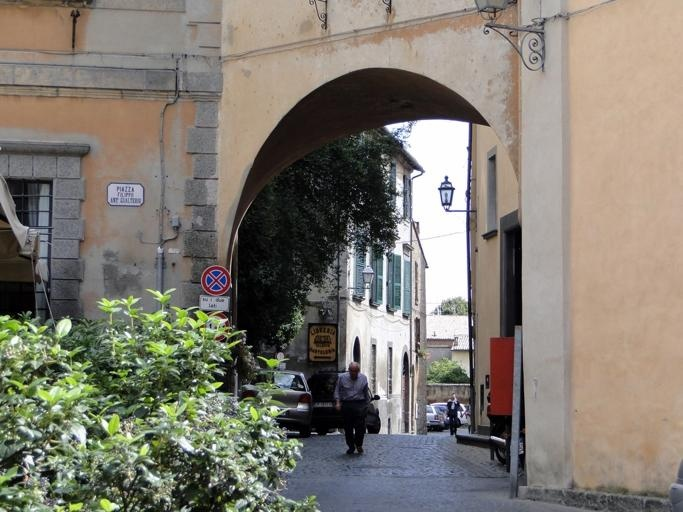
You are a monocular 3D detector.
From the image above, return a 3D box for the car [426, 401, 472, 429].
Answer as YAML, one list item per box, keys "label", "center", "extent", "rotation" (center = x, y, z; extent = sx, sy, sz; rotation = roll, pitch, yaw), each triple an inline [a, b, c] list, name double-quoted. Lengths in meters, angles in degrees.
- label: "car"
  center: [4.786, 6.850, 57.672]
  extent: [1.111, 1.046, 2.610]
  rotation: [-1, -2, 15]

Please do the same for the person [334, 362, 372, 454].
- label: "person"
  center: [0.170, 2.617, 22.912]
  extent: [0.578, 1.617, 1.345]
  rotation: [1, -6, 1]

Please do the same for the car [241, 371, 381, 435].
- label: "car"
  center: [-0.601, 3.173, 28.307]
  extent: [1.497, 1.307, 3.604]
  rotation: [1, -4, 6]

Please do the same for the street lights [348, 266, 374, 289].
- label: "street lights"
  center: [0.593, 0.554, 36.397]
  extent: [0.780, 0.400, 0.477]
  rotation: [-11, -13, 44]
